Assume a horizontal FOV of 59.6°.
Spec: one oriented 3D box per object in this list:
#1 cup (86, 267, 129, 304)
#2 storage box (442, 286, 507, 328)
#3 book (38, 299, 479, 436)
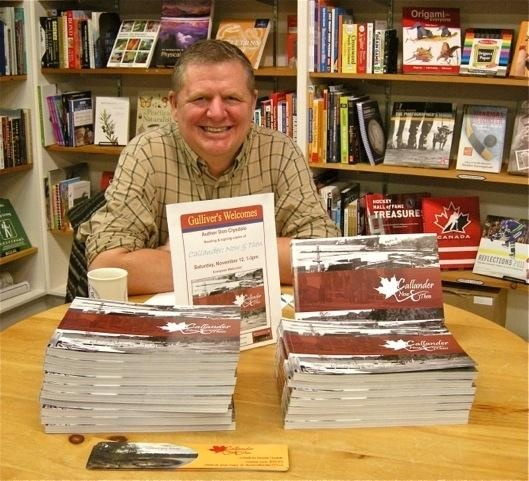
[{"bbox_3d":[-0.333,0.099,0.950,0.094,0.064,0.064,7,15,18],"label":"cup"},{"bbox_3d":[1.049,0.343,2.389,0.326,0.244,0.180,4,16,28],"label":"storage box"},{"bbox_3d":[-0.051,0.173,0.706,0.427,0.076,0.273,-1,6,-1],"label":"book"}]
